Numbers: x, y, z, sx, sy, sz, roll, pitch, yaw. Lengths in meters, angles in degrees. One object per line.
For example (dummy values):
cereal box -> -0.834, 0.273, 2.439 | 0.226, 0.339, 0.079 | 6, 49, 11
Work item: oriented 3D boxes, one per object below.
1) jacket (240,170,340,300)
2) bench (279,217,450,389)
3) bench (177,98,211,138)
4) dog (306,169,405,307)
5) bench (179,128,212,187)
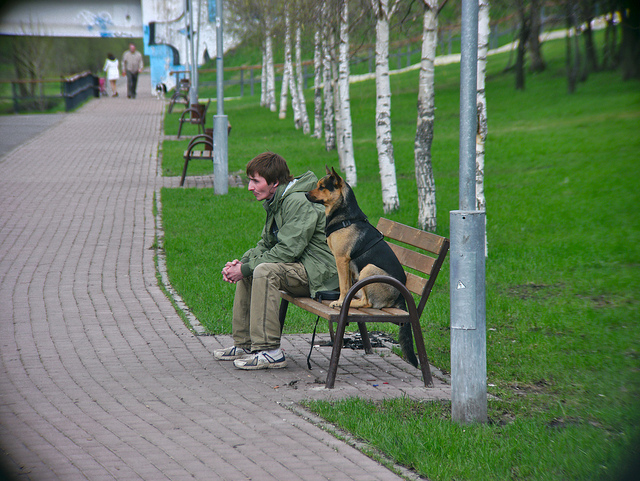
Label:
jacket -> -0.293, -0.050, 9.045 | 0.884, 1.260, 0.968 | 0, 3, 8
bench -> 0.559, 0.499, 9.543 | 1.003, 1.457, 2.760 | 3, 8, -1
bench -> -3.573, -3.546, 26.117 | 0.951, 1.310, 0.918 | -4, 20, -21
dog -> 0.325, 0.001, 8.366 | 0.931, 1.244, 0.763 | 3, 13, 7
bench -> -2.704, -1.787, 20.175 | 0.689, 1.034, 2.029 | 2, 9, -4
